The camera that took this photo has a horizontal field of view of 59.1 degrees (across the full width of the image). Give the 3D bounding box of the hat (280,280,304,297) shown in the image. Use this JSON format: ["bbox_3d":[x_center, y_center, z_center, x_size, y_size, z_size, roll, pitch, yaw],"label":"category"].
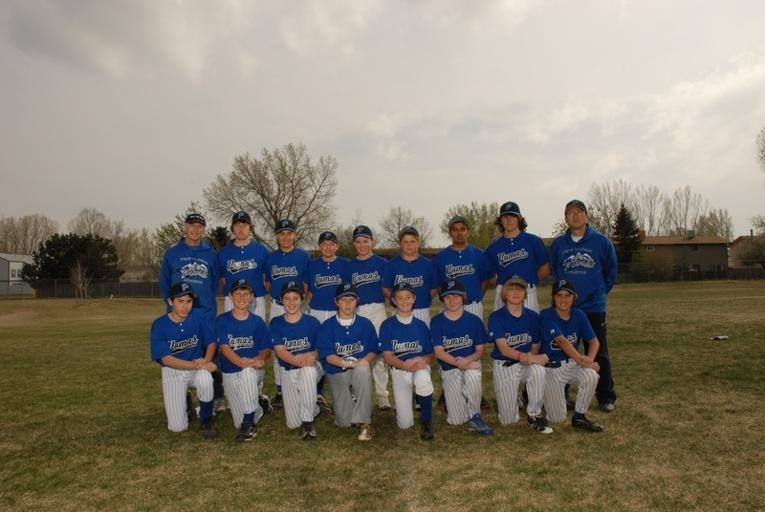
[{"bbox_3d":[-1.436,0.540,10.902,0.394,0.217,0.316,-2,-1,-26],"label":"hat"}]

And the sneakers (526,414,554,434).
[{"bbox_3d":[2.385,2.587,10.314,0.190,0.169,0.366,2,-5,-25],"label":"sneakers"}]

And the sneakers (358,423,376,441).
[{"bbox_3d":[-0.261,2.675,10.278,0.249,0.226,0.316,-3,-1,8],"label":"sneakers"}]

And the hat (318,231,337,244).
[{"bbox_3d":[-0.934,-0.315,11.526,0.276,0.183,0.300,-3,-1,-3],"label":"hat"}]

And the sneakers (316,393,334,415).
[{"bbox_3d":[-0.945,2.498,11.334,0.161,0.203,0.483,0,-7,10],"label":"sneakers"}]

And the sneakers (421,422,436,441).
[{"bbox_3d":[0.669,2.653,10.263,0.208,0.243,0.344,-3,-1,3],"label":"sneakers"}]

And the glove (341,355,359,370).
[{"bbox_3d":[-0.515,1.669,10.662,0.149,0.245,0.080,28,32,-8],"label":"glove"}]

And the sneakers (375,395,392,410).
[{"bbox_3d":[-0.004,2.487,11.401,0.186,0.350,0.228,3,-21,-28],"label":"sneakers"}]

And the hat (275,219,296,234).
[{"bbox_3d":[-1.684,-0.527,11.753,0.305,0.237,0.424,-4,-13,-7],"label":"hat"}]

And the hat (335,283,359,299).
[{"bbox_3d":[-0.583,0.567,10.787,0.336,0.233,0.236,-3,-1,7],"label":"hat"}]

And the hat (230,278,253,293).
[{"bbox_3d":[-2.288,0.490,10.939,0.321,0.195,0.340,-2,-1,-15],"label":"hat"}]

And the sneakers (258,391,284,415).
[{"bbox_3d":[-1.846,2.450,11.295,0.181,0.234,0.547,-1,-1,10],"label":"sneakers"}]

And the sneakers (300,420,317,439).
[{"bbox_3d":[-1.150,2.649,10.263,0.271,0.222,0.230,-3,-1,14],"label":"sneakers"}]

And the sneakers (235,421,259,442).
[{"bbox_3d":[-2.034,2.656,10.238,0.393,0.233,0.241,-2,-1,-38],"label":"sneakers"}]

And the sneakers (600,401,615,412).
[{"bbox_3d":[3.581,2.399,10.728,0.257,0.162,0.159,-3,-1,-8],"label":"sneakers"}]

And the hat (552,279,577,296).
[{"bbox_3d":[2.840,0.496,10.655,0.331,0.237,0.287,-3,-1,14],"label":"hat"}]

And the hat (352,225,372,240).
[{"bbox_3d":[-0.335,-0.400,11.544,0.305,0.226,0.448,-3,-1,-4],"label":"hat"}]

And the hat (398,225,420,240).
[{"bbox_3d":[0.431,-0.396,11.381,0.290,0.202,0.575,-3,-1,6],"label":"hat"}]

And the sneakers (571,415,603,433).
[{"bbox_3d":[3.096,2.543,10.223,0.421,0.187,0.184,-2,0,39],"label":"sneakers"}]
